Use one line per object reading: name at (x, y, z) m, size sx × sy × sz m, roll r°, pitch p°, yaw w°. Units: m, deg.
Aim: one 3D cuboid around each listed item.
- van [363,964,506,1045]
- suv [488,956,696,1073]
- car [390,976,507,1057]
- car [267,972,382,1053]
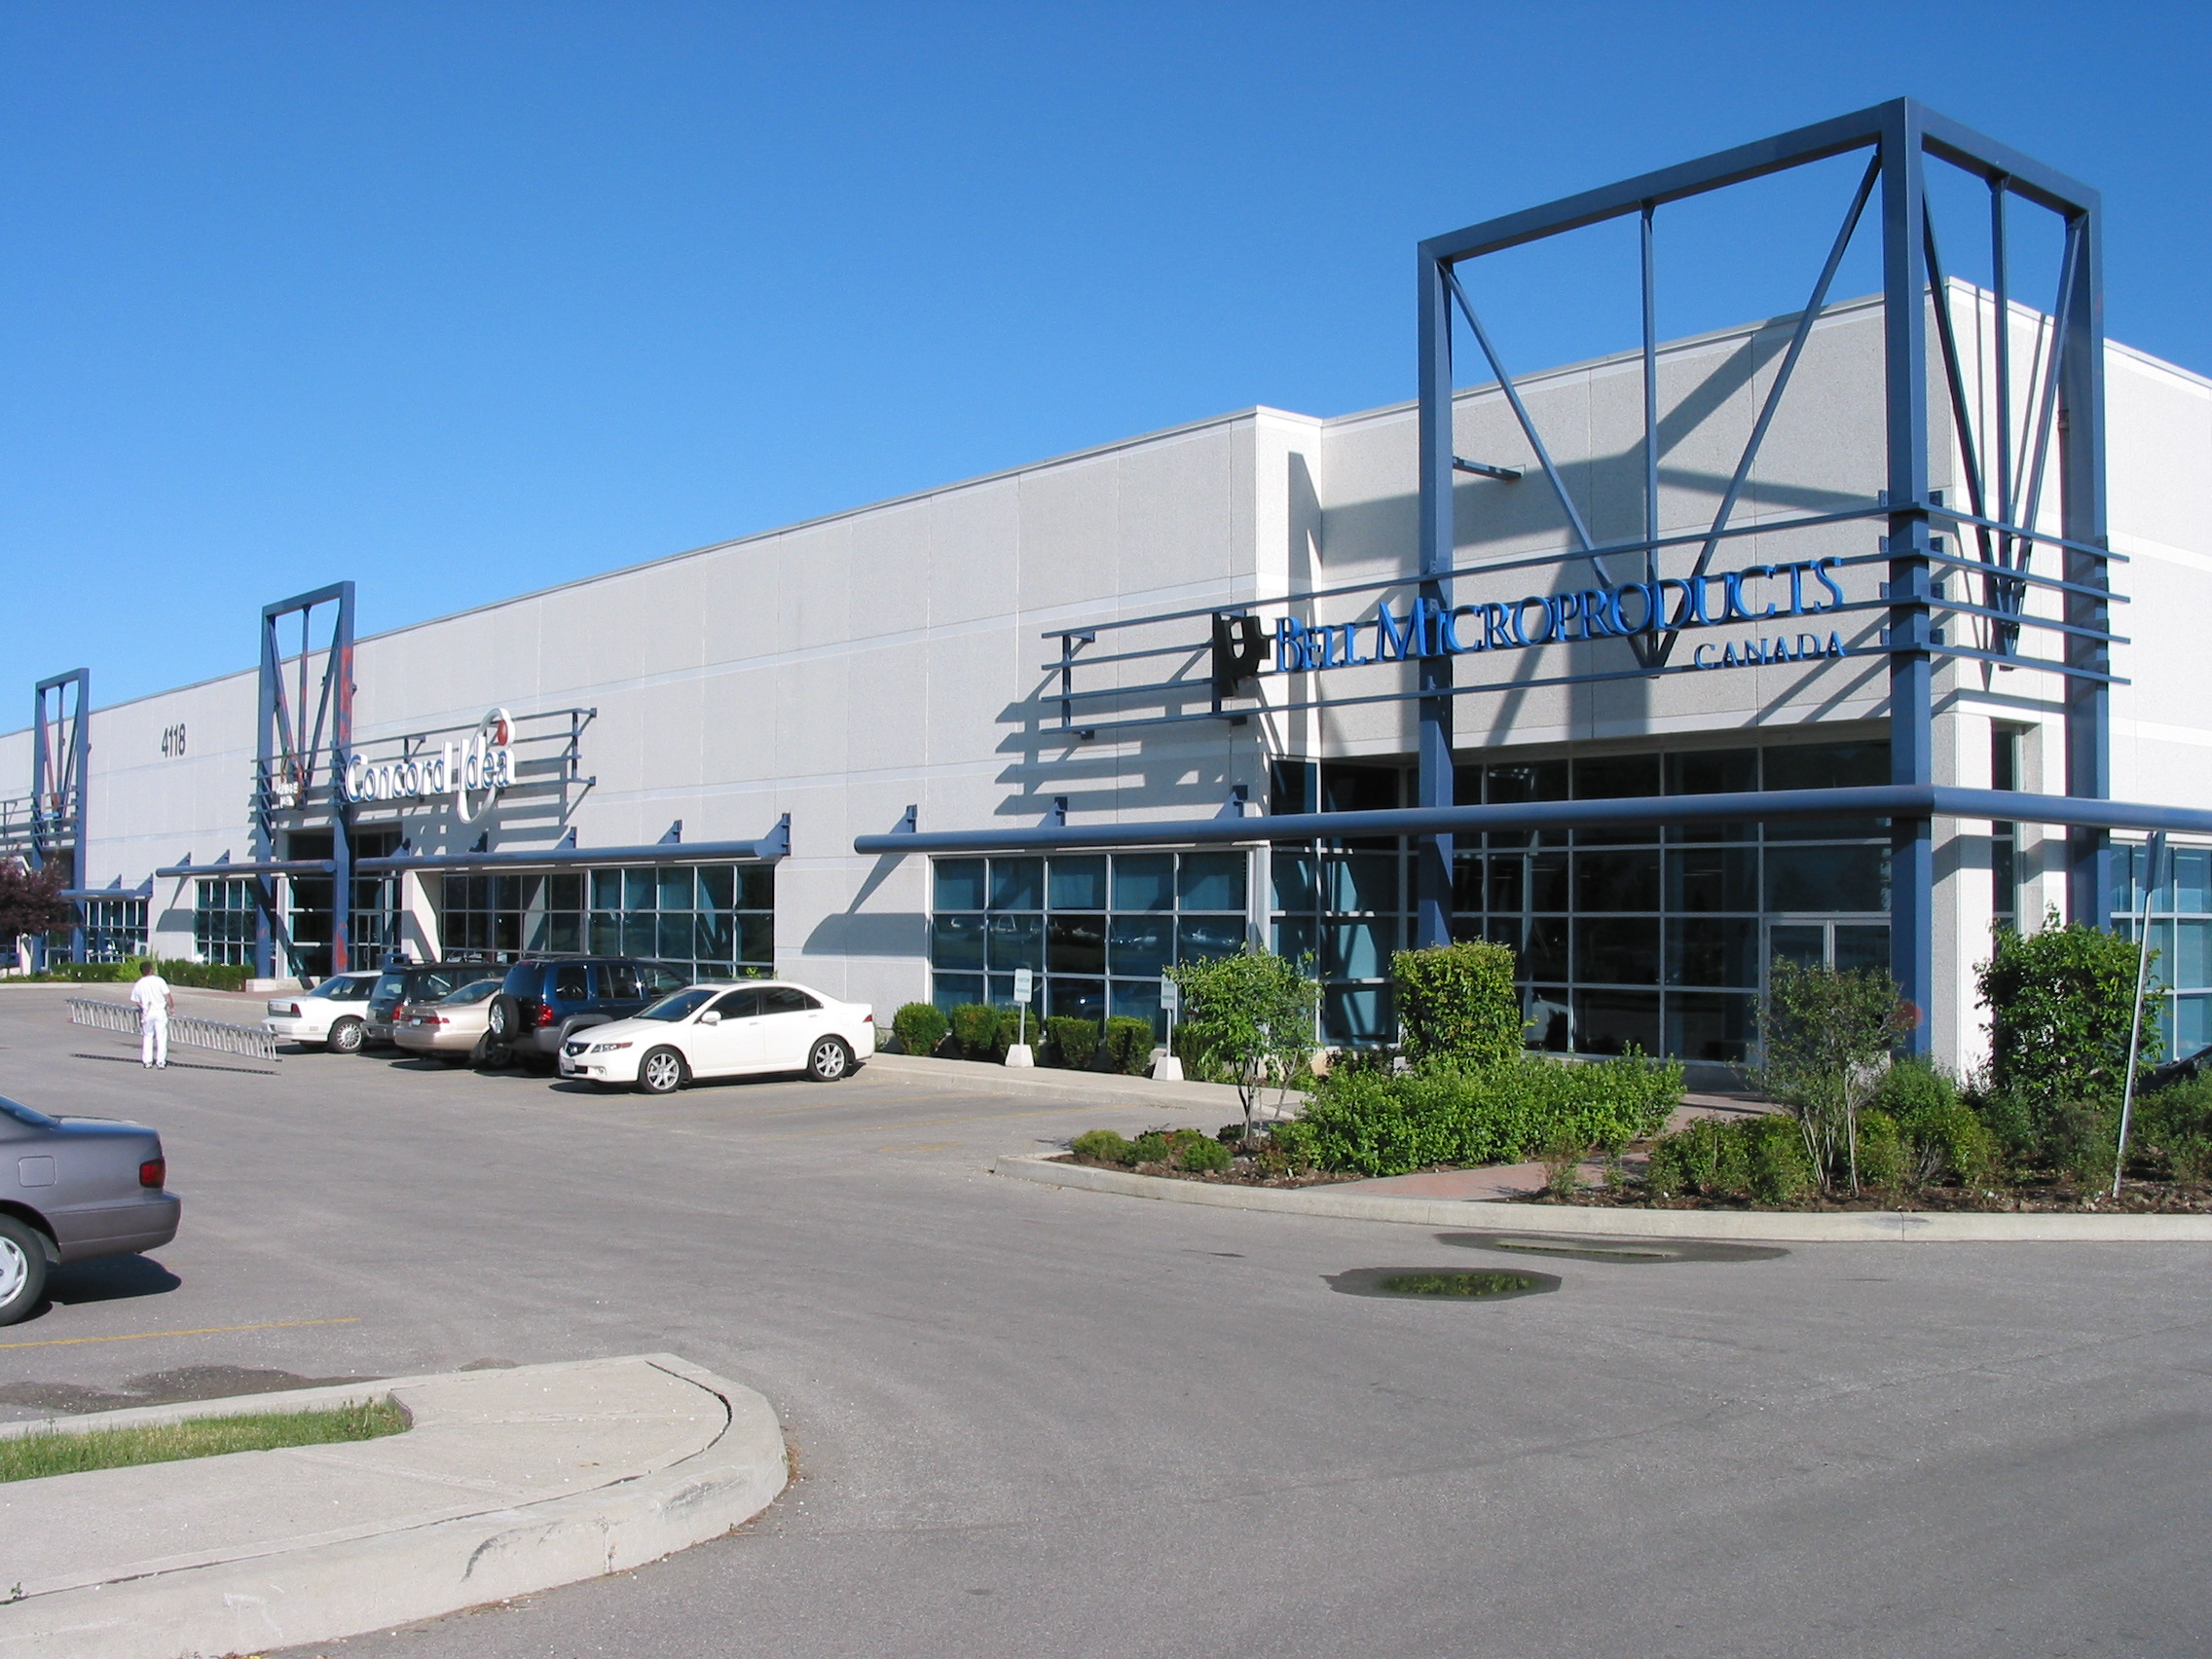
van at (-11.733, 3.129, 36.423) m, size 2.562 × 1.349 × 1.425 m, roll -7°, pitch 4°, yaw -37°
suv at (-8.414, 2.945, 33.163) m, size 2.618 × 1.313 × 1.522 m, roll -3°, pitch 1°, yaw -36°
car at (-10.893, 3.115, 33.880) m, size 1.081 × 0.829 × 2.277 m, roll 1°, pitch 2°, yaw 42°
car at (-14.242, 3.348, 37.118) m, size 2.490 × 0.919 × 1.074 m, roll -2°, pitch 3°, yaw -38°
